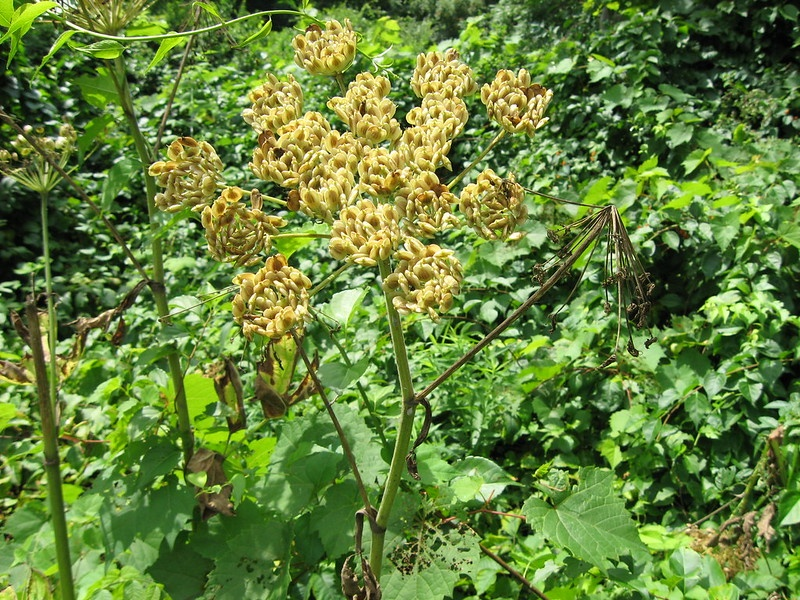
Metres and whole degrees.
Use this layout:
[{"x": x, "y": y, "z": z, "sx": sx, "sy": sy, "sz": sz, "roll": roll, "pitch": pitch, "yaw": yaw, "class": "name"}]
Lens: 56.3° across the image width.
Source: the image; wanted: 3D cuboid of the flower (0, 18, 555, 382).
[{"x": -0.176, "y": -0.362, "z": 2.822, "sx": 1.294, "sy": 1.142, "sz": 0.446, "roll": 16, "pitch": -19, "yaw": 9, "class": "flower"}]
